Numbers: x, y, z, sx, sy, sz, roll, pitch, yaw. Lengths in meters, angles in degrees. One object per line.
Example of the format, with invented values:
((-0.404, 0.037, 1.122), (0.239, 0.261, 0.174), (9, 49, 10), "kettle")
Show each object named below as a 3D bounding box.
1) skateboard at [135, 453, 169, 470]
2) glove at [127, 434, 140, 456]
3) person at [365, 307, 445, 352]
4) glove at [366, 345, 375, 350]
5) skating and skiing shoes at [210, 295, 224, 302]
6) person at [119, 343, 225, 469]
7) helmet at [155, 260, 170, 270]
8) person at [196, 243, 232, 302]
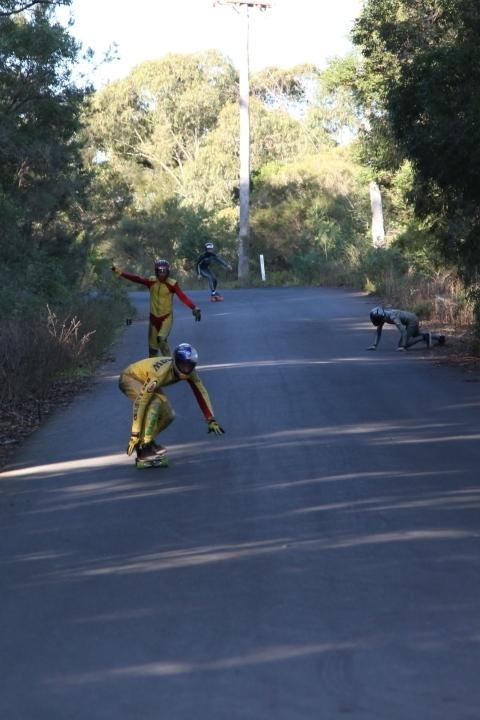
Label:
((-0.749, 0.851, 8.329), (0.267, 0.106, 0.180), (-2, 7, -6), "skateboard")
((-0.911, 0.708, 8.230), (0.057, 0.215, 0.123), (13, 11, 23), "glove")
((2.798, -0.499, 16.571), (1.273, 0.815, 0.711), (1, 6, 0), "person")
((2.162, -0.204, 16.495), (0.063, 0.045, 0.157), (5, -4, -21), "glove")
((-0.673, -1.727, 27.810), (0.360, 0.251, 0.197), (-6, 23, 4), "skating and skiing shoes")
((-0.688, 0.357, 8.439), (0.887, 1.130, 0.738), (13, 18, 33), "person")
((-0.980, -1.212, 12.471), (0.119, 0.132, 0.169), (0, -5, -14), "helmet")
((-0.815, -2.402, 26.755), (0.925, 1.607, 0.834), (-13, 16, -34), "person")
